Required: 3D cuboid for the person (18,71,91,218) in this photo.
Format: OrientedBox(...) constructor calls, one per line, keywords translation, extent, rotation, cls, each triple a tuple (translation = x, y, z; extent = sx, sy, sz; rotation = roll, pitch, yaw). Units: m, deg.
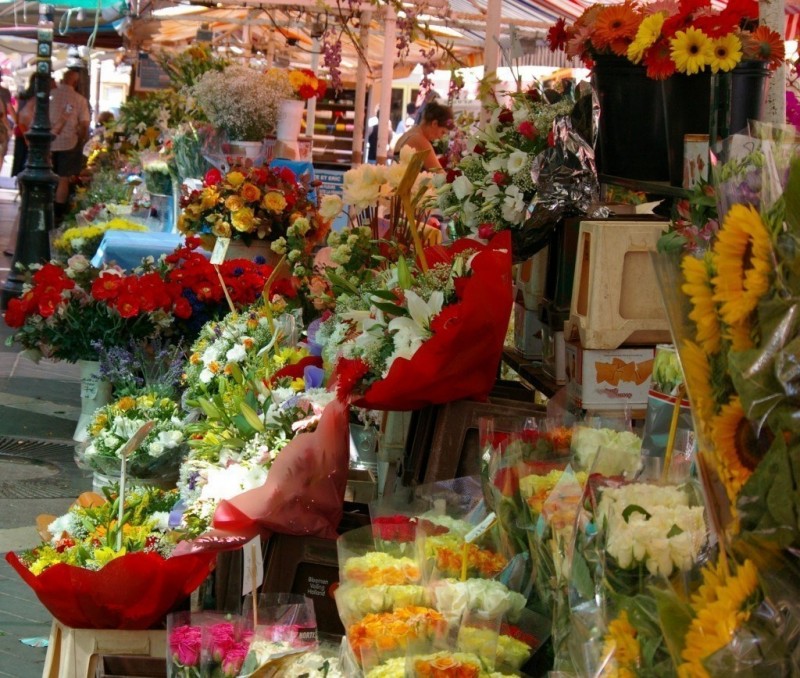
OrientedBox(translation=(-4.780, -2.614, 9.214), extent=(0.748, 2.387, 0.699), rotation=(7, -3, -14), cls="person")
